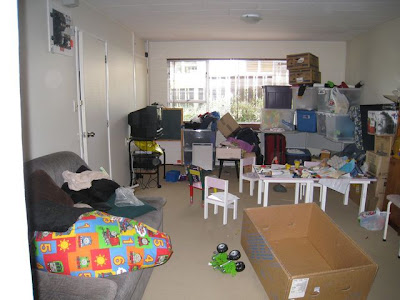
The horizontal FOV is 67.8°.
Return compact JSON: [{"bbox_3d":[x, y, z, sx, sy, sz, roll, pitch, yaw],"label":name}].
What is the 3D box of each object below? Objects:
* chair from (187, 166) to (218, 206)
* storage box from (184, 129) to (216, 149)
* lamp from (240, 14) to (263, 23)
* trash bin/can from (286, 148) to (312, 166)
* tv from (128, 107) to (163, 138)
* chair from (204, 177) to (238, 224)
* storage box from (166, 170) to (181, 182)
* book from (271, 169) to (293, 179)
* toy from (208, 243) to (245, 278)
[{"bbox_3d":[0.043,0.475,4.224,0.349,0.553,0.398,5,14,27],"label":"chair"},{"bbox_3d":[0.032,-0.195,6.335,0.716,0.470,0.412,-1,-5,11],"label":"storage box"},{"bbox_3d":[0.794,-2.017,4.561,0.329,0.067,0.242,-8,11,-37],"label":"lamp"},{"bbox_3d":[1.917,0.151,5.755,0.454,0.287,0.608,2,9,17],"label":"trash bin/can"},{"bbox_3d":[-0.877,-0.495,5.190,0.924,0.516,0.913,-2,5,-16],"label":"tv"},{"bbox_3d":[0.281,0.617,3.835,0.427,0.545,0.371,5,9,23],"label":"chair"},{"bbox_3d":[-0.499,0.469,5.488,0.220,0.154,0.217,1,8,10],"label":"storage box"},{"bbox_3d":[1.057,0.312,3.808,0.259,0.053,0.272,1,9,14],"label":"book"},{"bbox_3d":[0.234,1.033,2.898,0.268,0.081,0.299,28,29,37],"label":"toy"}]
